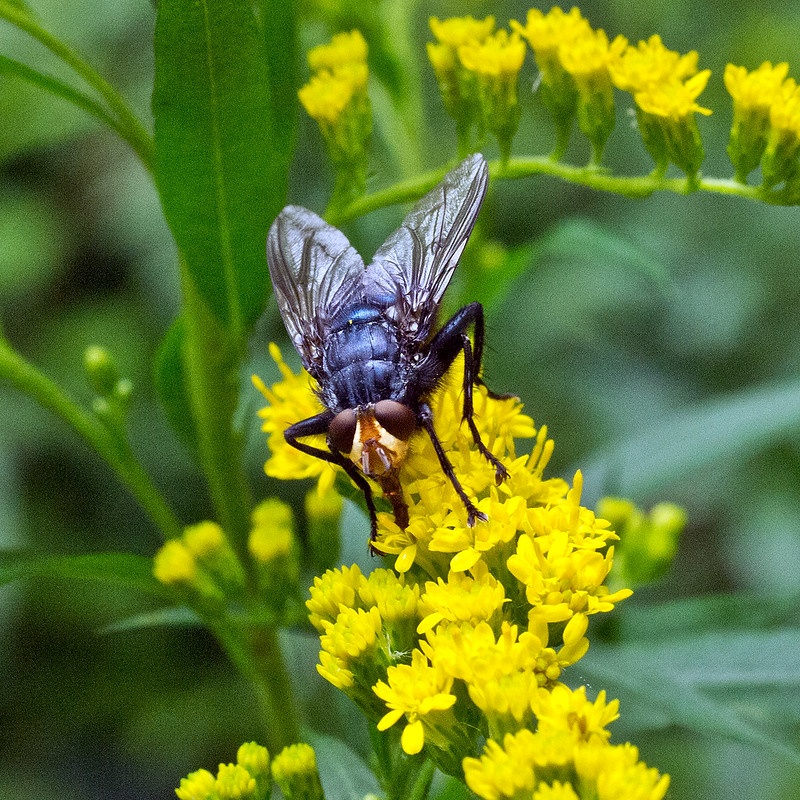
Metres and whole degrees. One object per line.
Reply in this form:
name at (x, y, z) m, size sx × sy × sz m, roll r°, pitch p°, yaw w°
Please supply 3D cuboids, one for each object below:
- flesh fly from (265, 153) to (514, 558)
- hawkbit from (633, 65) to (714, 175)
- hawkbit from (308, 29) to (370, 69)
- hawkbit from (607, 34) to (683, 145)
flesh fly at (0.001, -0.032, 0.848) m, size 0.201 × 0.101 × 0.341 m, roll -20°, pitch 49°, yaw 28°
hawkbit at (0.220, -0.223, 0.774) m, size 0.051 × 0.092 × 0.055 m, roll -3°, pitch 26°, yaw -2°
hawkbit at (-0.064, -0.311, 0.854) m, size 0.038 × 0.015 × 0.042 m, roll -9°, pitch 50°, yaw 22°
hawkbit at (0.200, -0.266, 0.778) m, size 0.061 × 0.032 × 0.048 m, roll 23°, pitch 63°, yaw 23°
